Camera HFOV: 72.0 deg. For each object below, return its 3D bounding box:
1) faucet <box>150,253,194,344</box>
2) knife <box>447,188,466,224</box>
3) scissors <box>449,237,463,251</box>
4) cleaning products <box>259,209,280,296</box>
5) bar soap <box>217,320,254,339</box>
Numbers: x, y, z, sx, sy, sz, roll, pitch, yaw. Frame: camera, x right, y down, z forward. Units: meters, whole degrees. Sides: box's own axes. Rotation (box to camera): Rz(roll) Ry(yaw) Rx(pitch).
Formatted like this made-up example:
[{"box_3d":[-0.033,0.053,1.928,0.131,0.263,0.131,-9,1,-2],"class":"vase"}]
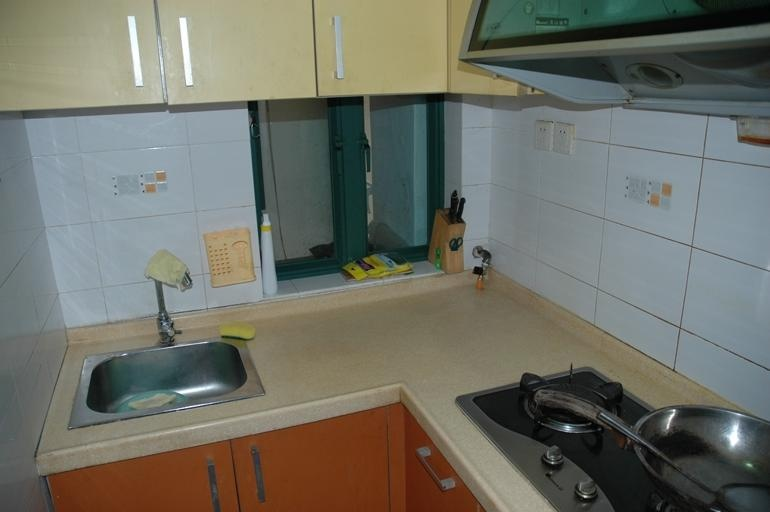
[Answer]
[{"box_3d":[-0.930,0.181,2.294,0.176,0.376,0.231,-4,27,-21],"class":"faucet"},{"box_3d":[0.358,-0.252,2.656,0.088,0.156,0.126,-1,18,7],"class":"knife"},{"box_3d":[0.352,-0.063,2.667,0.058,0.051,0.007,-11,30,-15],"class":"scissors"},{"box_3d":[-0.562,-0.012,2.500,0.066,0.386,0.137,-6,18,-8],"class":"cleaning products"},{"box_3d":[-0.646,0.325,2.322,0.166,0.065,0.085,0,19,11],"class":"bar soap"}]
